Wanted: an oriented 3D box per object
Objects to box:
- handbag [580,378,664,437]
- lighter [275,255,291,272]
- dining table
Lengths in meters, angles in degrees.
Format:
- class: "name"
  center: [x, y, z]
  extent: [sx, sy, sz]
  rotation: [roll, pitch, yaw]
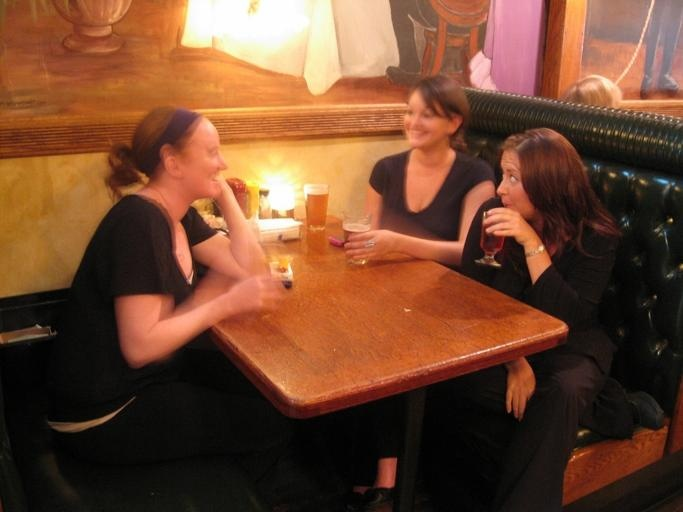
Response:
- class: "handbag"
  center: [1.211, 0.673, 2.238]
  extent: [0.362, 0.161, 0.232]
  rotation: [-12, 25, -33]
- class: "lighter"
  center: [-0.245, 0.033, 2.223]
  extent: [0.057, 0.037, 0.057]
  rotation: [-7, 18, -27]
- class: "dining table"
  center: [0.075, 0.491, 2.060]
  extent: [0.983, 0.971, 0.977]
  rotation: [-16, 34, -28]
